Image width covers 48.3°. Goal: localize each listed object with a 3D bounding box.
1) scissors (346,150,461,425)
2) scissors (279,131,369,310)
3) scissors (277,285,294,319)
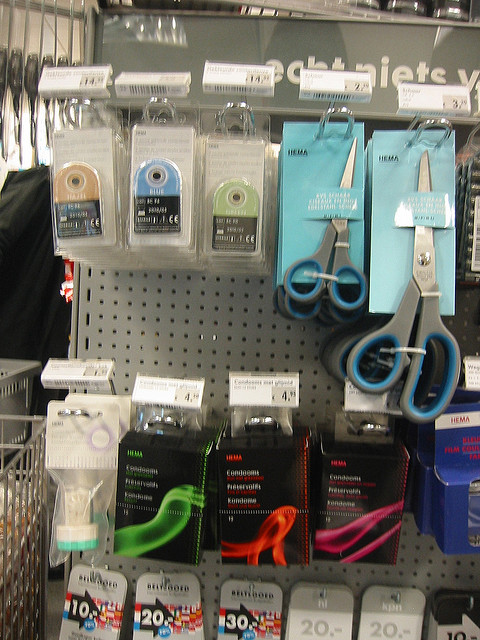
[{"bbox_3d":[0.234,-0.019,0.789,0.096,0.426,0.121,-4,15,-18],"label":"scissors"},{"bbox_3d":[0.162,-0.169,0.863,0.125,0.033,0.412,0,53,25],"label":"scissors"},{"bbox_3d":[0.071,-0.029,0.862,0.007,0.052,0.027,-1,-7,-12],"label":"scissors"}]
